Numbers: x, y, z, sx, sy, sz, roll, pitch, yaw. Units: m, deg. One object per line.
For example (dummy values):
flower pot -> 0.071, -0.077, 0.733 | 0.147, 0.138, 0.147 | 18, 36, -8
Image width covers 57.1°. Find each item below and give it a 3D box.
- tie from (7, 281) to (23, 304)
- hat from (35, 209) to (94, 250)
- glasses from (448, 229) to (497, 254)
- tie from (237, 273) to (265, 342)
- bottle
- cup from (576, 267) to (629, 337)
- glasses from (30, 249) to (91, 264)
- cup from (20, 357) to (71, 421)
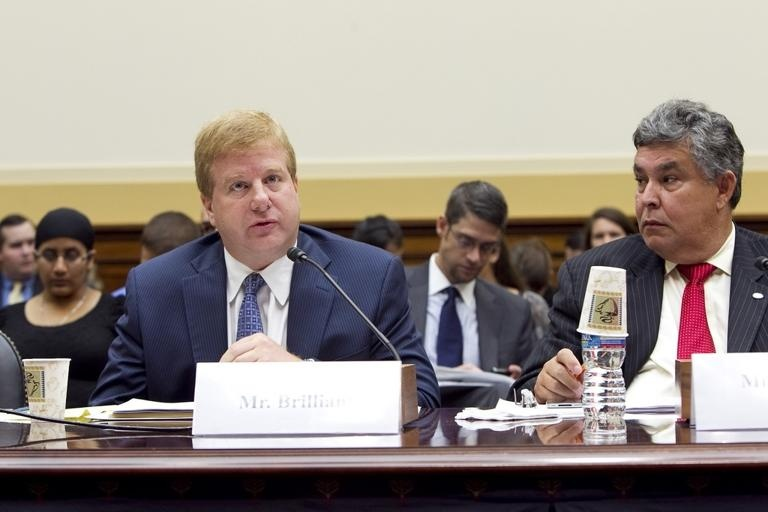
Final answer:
tie -> -2.883, 0.279, 5.518 | 0.088, 0.158, 0.037 | 0, -26, 10
hat -> -1.770, -0.147, 3.909 | 0.297, 0.205, 0.284 | -3, -7, -17
glasses -> 0.470, -0.110, 3.843 | 0.165, 0.050, 0.163 | 14, 6, -13
tie -> -0.463, 0.167, 2.434 | 0.091, 0.231, 0.139 | 0, -6, -10
bottle -> 0.635, 0.324, 2.008 | 0.119, 0.486, 0.119 | -5, 18, 2
cup -> 0.629, 0.106, 1.953 | 0.136, 0.186, 0.134 | -4, 30, 2
glasses -> -1.734, -0.009, 3.822 | 0.271, 0.087, 0.152 | 2, -7, -27
cup -> -1.084, 0.439, 2.299 | 0.163, 0.187, 0.158 | 0, -11, 0
